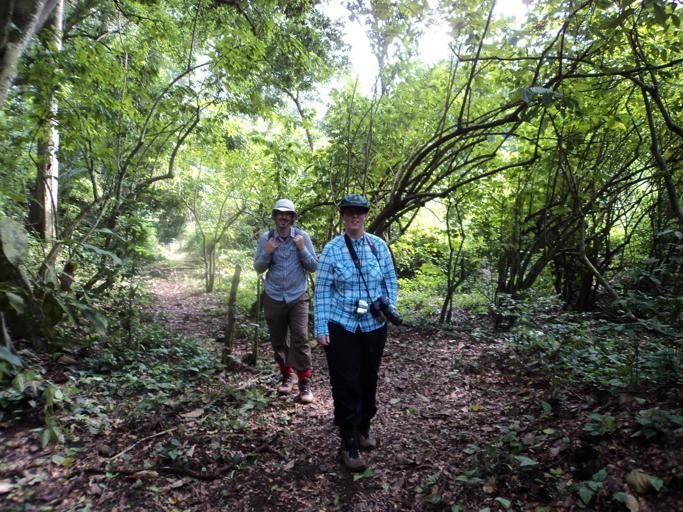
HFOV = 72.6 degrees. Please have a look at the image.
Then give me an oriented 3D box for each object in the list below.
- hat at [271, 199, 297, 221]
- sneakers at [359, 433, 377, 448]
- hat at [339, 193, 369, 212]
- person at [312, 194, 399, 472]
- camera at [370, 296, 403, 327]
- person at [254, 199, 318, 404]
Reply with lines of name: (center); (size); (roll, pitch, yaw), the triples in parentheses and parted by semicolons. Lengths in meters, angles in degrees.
hat: (-0.690, -0.579, 5.584); (0.283, 0.232, 0.387); (5, 1, -9)
sneakers: (0.249, 1.902, 4.790); (0.182, 0.153, 0.106); (-18, -7, 24)
hat: (0.126, -0.518, 4.505); (0.284, 0.162, 0.238); (5, 1, -10)
person: (0.097, 0.733, 4.551); (0.808, 2.624, 0.379); (6, 1, -1)
camera: (0.434, 0.546, 4.467); (0.289, 0.161, 0.274); (40, -2, 12)
person: (-0.663, 0.522, 5.634); (0.880, 2.334, 0.452); (6, 1, -5)
